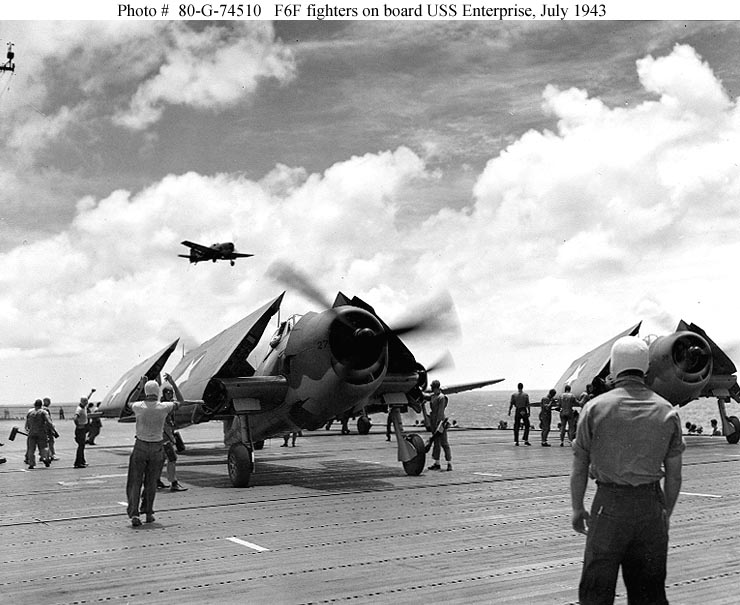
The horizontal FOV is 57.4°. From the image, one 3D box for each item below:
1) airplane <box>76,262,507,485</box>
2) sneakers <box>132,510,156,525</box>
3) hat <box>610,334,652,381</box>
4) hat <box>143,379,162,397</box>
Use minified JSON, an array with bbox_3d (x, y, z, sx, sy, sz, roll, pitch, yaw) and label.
[{"bbox_3d":[-2.055,1.860,15.815,7.026,2.531,6.466,-9,-13,-36],"label":"airplane"},{"bbox_3d":[-3.417,3.258,10.187,0.167,0.179,0.441,-4,-10,2],"label":"sneakers"},{"bbox_3d":[1.898,0.420,5.008,0.283,0.308,0.346,3,0,13],"label":"hat"},{"bbox_3d":[-3.328,1.335,10.316,0.233,0.228,0.296,-1,-9,-12],"label":"hat"}]
